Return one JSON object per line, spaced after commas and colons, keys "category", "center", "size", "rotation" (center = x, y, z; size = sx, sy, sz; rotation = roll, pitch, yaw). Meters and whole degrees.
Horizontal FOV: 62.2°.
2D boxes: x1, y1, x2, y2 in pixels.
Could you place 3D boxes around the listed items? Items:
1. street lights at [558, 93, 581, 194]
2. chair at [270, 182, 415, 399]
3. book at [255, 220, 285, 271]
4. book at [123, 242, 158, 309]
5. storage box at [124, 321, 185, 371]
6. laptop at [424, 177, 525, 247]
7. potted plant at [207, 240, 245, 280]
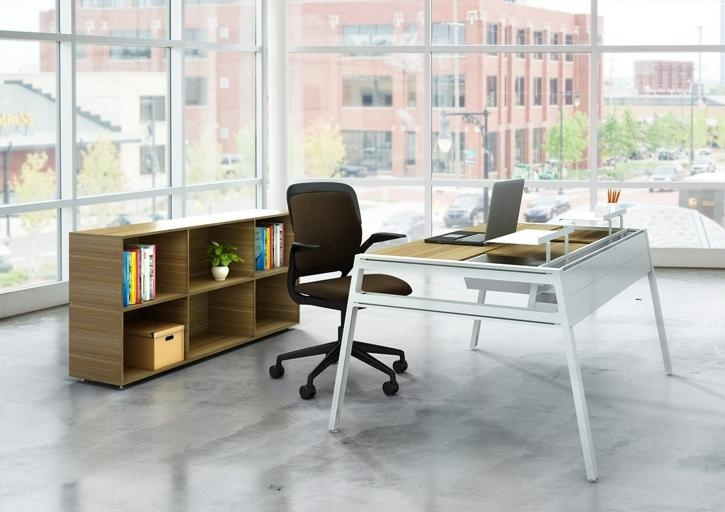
{"category": "street lights", "center": [2.828, -1.558, 8.182], "size": [0.349, 1.337, 0.234], "rotation": [-3, 12, -13]}
{"category": "chair", "center": [-0.103, 0.203, 4.301], "size": [1.013, 1.359, 1.074], "rotation": [7, 9, 35]}
{"category": "book", "center": [-0.787, -0.093, 5.098], "size": [0.279, 0.390, 0.452], "rotation": [2, 5, 18]}
{"category": "book", "center": [-1.528, 0.123, 4.123], "size": [0.185, 0.382, 0.330], "rotation": [-3, 12, -12]}
{"category": "storage box", "center": [-1.582, 0.653, 4.448], "size": [0.517, 0.243, 0.499], "rotation": [-1, 3, -32]}
{"category": "laptop", "center": [0.734, -0.288, 3.872], "size": [0.625, 0.361, 0.645], "rotation": [-1, 9, 13]}
{"category": "potted plant", "center": [-1.099, 0.042, 4.812], "size": [0.252, 0.281, 0.283], "rotation": [4, -9, 45]}
